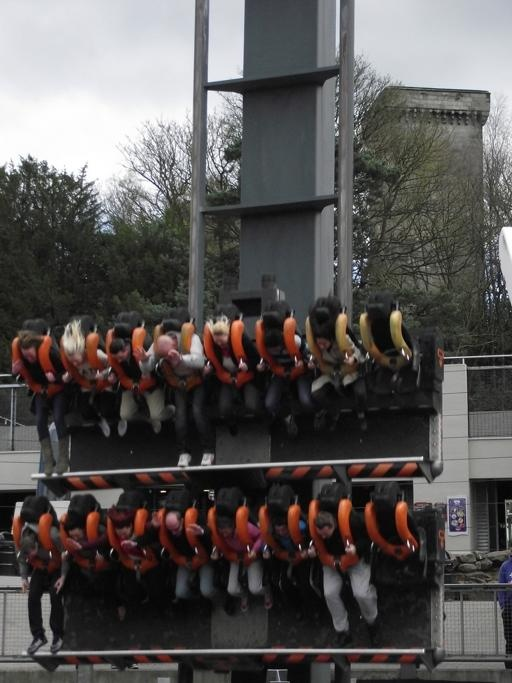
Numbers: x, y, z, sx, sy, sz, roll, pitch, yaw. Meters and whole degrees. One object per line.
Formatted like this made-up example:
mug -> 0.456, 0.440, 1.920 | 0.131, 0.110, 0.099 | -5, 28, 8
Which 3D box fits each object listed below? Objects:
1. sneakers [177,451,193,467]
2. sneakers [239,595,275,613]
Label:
sneakers -> -0.721, 1.195, 11.903 | 0.166, 0.193, 0.122 | 2, -13, -4
sneakers -> -0.009, 2.633, 11.816 | 0.284, 0.103, 0.191 | -19, 26, -16
